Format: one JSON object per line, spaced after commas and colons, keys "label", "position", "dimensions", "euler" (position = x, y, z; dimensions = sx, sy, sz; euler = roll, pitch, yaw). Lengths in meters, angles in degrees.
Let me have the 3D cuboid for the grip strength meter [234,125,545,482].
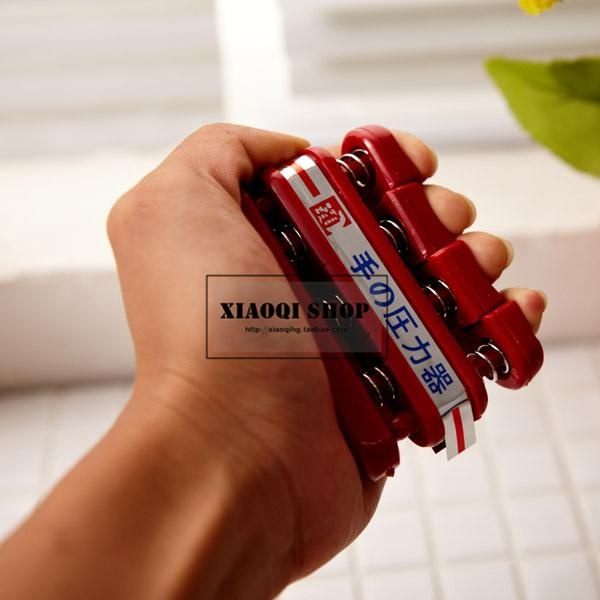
{"label": "grip strength meter", "position": [0.035, 0.024, 0.664], "dimensions": [0.277, 0.095, 0.327], "euler": [-32, 90, -28]}
